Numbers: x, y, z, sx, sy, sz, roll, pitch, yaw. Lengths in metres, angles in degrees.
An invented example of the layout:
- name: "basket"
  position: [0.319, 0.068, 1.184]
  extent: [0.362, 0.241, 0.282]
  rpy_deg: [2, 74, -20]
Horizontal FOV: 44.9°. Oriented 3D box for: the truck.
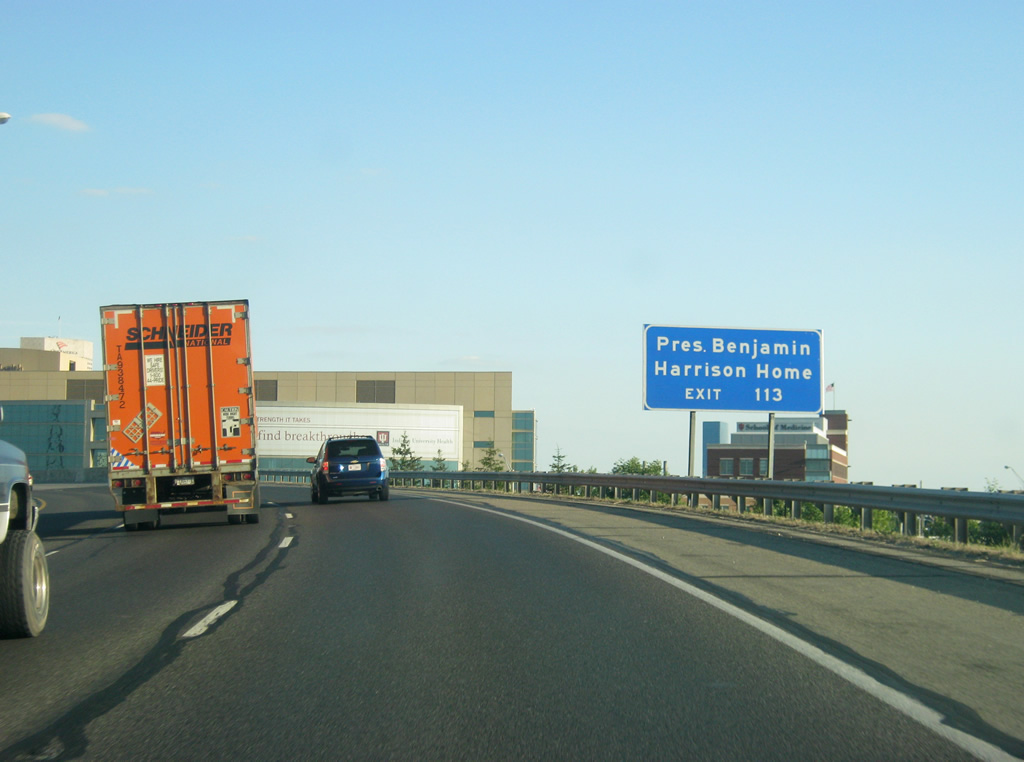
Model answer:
- name: "truck"
  position: [-5.806, 0.728, 26.655]
  extent: [3.031, 4.421, 6.034]
  rpy_deg: [-3, -2, 9]
